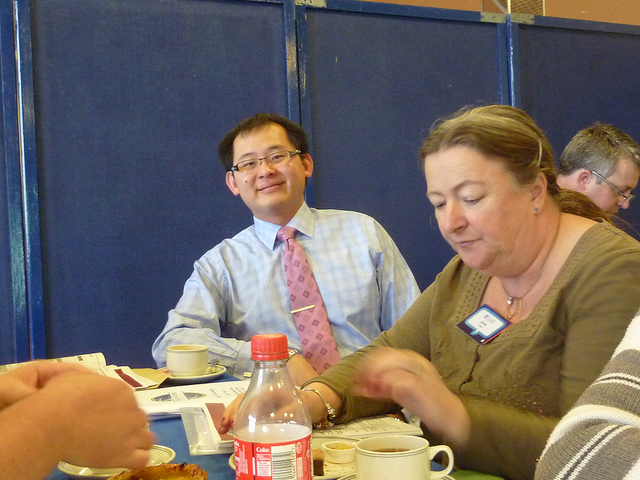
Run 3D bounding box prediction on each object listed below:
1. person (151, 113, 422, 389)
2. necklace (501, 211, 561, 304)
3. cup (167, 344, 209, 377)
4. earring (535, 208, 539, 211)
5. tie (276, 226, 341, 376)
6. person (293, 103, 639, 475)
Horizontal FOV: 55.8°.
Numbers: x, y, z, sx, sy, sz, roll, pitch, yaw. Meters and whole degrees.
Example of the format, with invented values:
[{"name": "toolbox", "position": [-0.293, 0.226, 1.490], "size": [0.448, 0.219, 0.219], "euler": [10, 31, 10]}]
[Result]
[{"name": "person", "position": [-0.214, 0.033, 2.656], "size": [0.938, 1.214, 0.665], "euler": [-10, -24, -2]}, {"name": "necklace", "position": [0.590, 0.049, 1.675], "size": [0.037, 0.245, 0.160], "euler": [19, -14, -31]}, {"name": "cup", "position": [-0.438, 0.405, 2.027], "size": [0.098, 0.076, 0.102], "euler": [-1, -9, 0]}, {"name": "earring", "position": [0.588, -0.082, 1.644], "size": [0.008, 0.006, 0.009], "euler": [-1, -2, 2]}, {"name": "tie", "position": [-0.060, 0.274, 2.658], "size": [0.158, 0.662, 0.091], "euler": [-19, -17, -1]}, {"name": "person", "position": [0.484, 0.150, 1.910], "size": [0.956, 1.066, 0.806], "euler": [5, -6, -20]}]
